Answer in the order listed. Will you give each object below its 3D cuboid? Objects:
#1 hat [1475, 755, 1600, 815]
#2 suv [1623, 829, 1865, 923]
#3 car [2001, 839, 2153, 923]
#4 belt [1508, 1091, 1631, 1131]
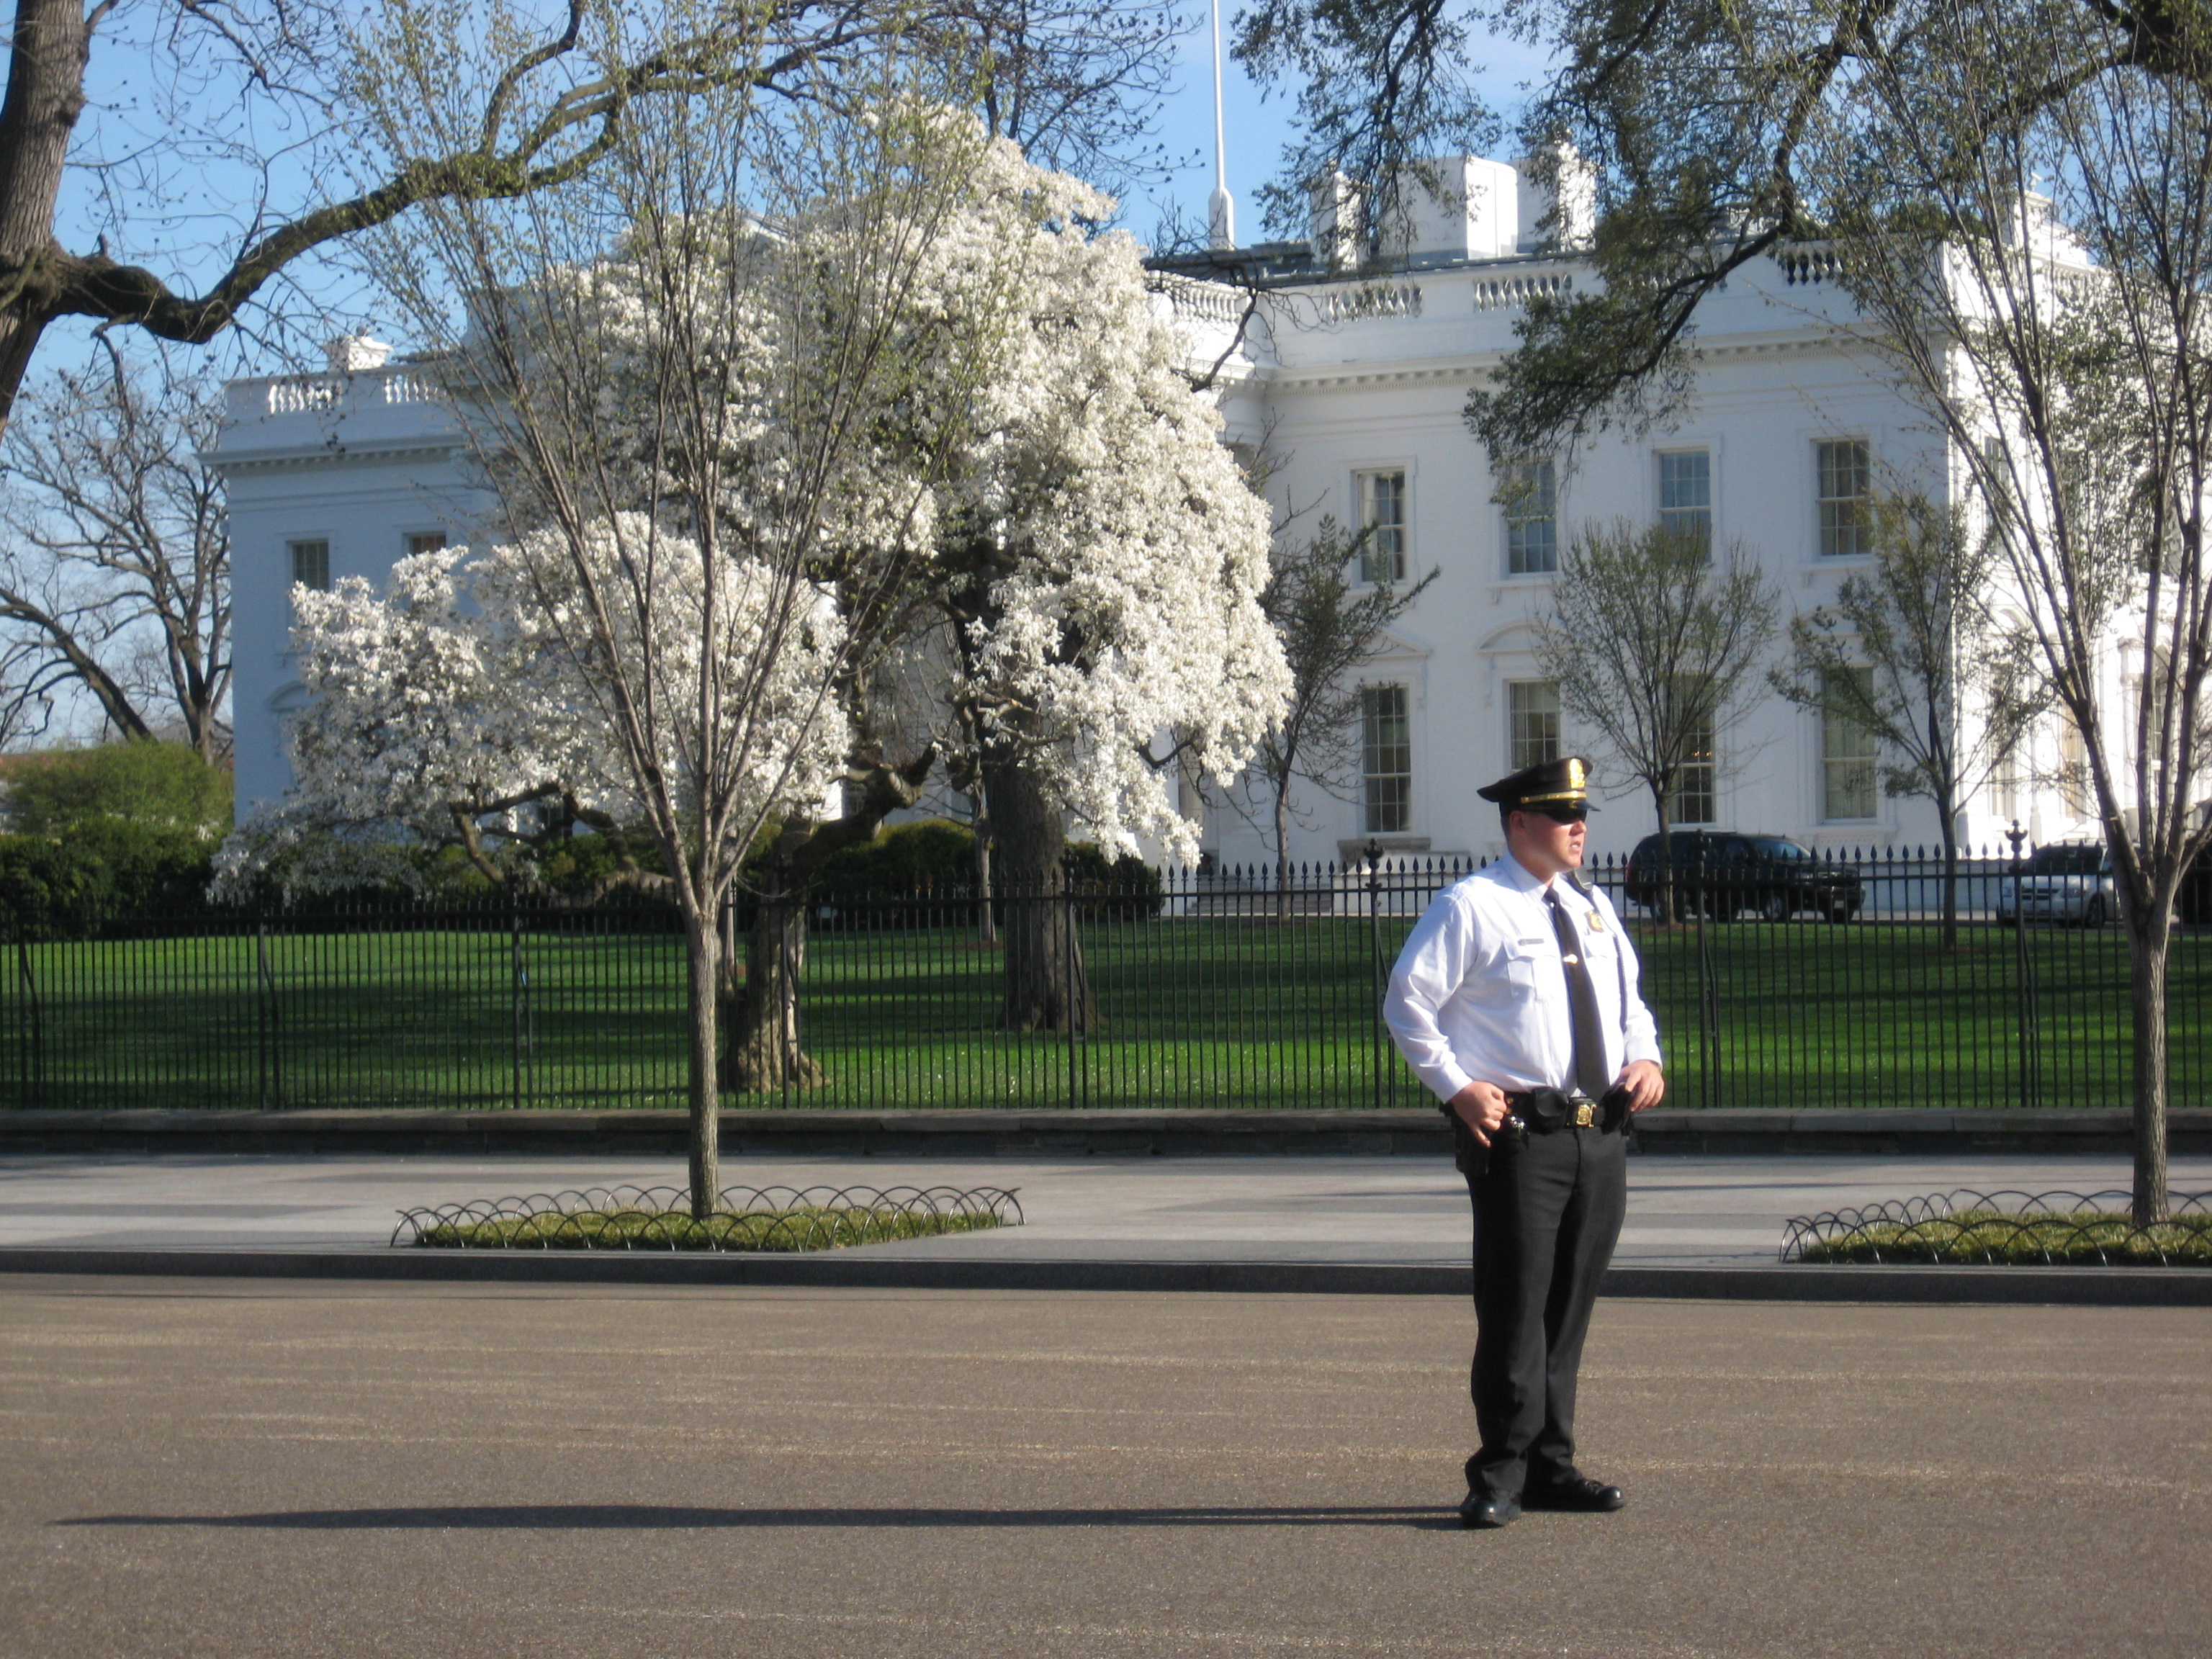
[{"bbox_3d":[2.032,-0.241,20.953,0.571,0.345,0.528,1,0,38],"label":"hat"},{"bbox_3d":[6.915,0.422,47.060,2.059,0.839,0.998,-2,-1,30],"label":"suv"},{"bbox_3d":[9.029,0.422,40.348,0.831,0.820,1.599,0,1,23],"label":"car"},{"bbox_3d":[2.235,1.302,20.657,0.637,0.200,0.153,-2,0,-24],"label":"belt"}]
